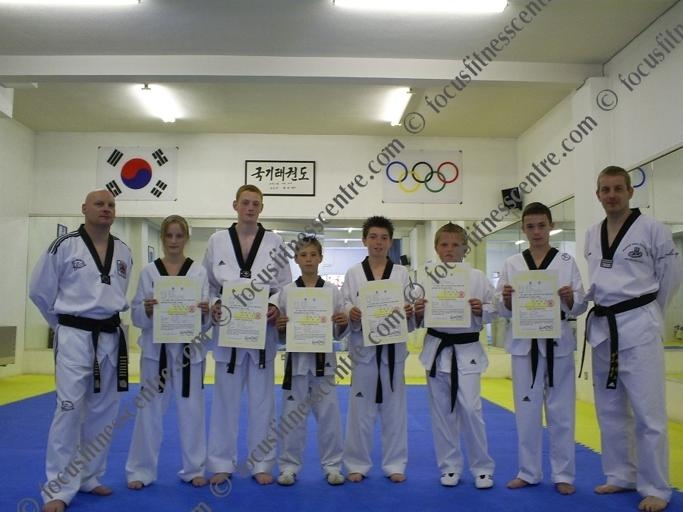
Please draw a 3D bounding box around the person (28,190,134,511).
[{"bbox_3d":[-2.732,0.922,6.791,0.988,3.217,0.717,-3,6,-28],"label":"person"}]

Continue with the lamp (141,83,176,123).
[{"bbox_3d":[-3.299,-2.732,11.559,0.632,0.510,1.179,-1,6,-12],"label":"lamp"}]

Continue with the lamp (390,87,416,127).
[{"bbox_3d":[1.084,-2.690,11.681,0.531,0.504,1.383,0,6,4],"label":"lamp"}]

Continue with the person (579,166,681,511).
[{"bbox_3d":[3.058,0.791,6.772,0.915,3.450,0.755,2,6,22],"label":"person"}]
